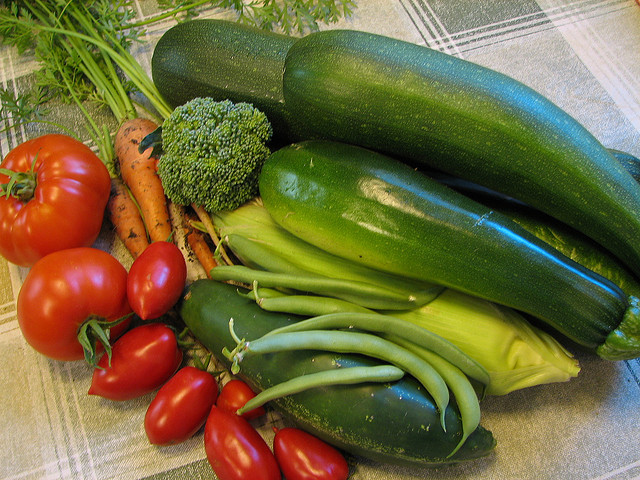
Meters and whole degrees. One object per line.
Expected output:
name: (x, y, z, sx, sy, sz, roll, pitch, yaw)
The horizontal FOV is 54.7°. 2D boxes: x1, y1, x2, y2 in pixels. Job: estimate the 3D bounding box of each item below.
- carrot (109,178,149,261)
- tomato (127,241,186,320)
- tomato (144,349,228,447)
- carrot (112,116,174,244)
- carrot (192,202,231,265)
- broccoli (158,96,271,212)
carrot: (-0.501, -0.055, 1.669, 0.071, 0.076, 0.270, -20, 77, 1)
tomato: (-0.399, 0.096, 1.529, 0.150, 0.153, 0.230, 2, 40, -1)
tomato: (-0.320, 0.386, 1.494, 0.114, 0.117, 0.215, 38, 79, 13)
carrot: (-0.489, -0.104, 1.770, 0.109, 0.464, 0.121, 24, 52, 10)
carrot: (-0.273, -0.016, 1.567, 0.032, 0.029, 0.155, -28, 87, -46)
broccoli: (-0.263, -0.210, 1.541, 0.265, 0.140, 0.252, 10, 73, 3)
